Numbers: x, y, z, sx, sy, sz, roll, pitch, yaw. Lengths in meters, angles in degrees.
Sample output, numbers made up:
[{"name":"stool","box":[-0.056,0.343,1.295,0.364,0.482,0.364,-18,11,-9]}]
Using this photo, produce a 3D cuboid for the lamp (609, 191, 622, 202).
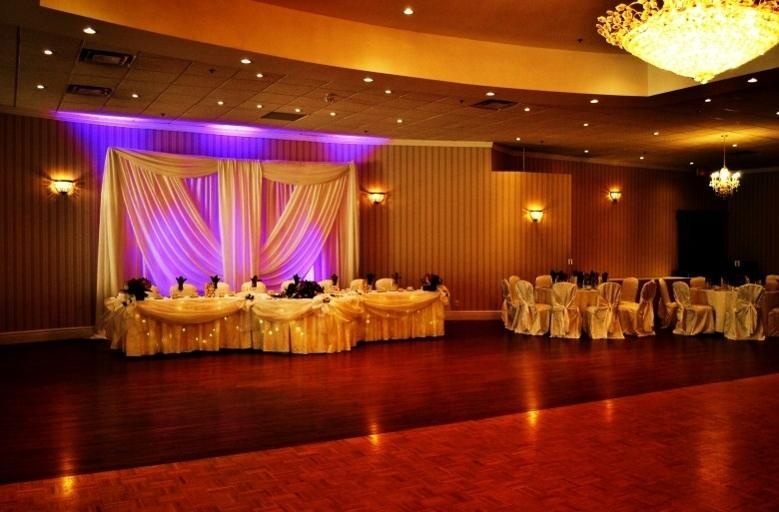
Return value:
[{"name":"lamp","box":[6.977,-1.809,16.215,0.352,0.247,0.336,1,-1,-25]}]

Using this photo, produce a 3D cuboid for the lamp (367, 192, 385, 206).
[{"name":"lamp","box":[-0.313,-1.454,13.148,0.342,0.207,0.327,-1,-6,-1]}]

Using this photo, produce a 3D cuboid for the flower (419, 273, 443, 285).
[{"name":"flower","box":[0.852,0.488,11.110,0.383,0.129,0.334,-2,-2,23]}]

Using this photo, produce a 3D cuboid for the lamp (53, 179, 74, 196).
[{"name":"lamp","box":[-6.614,-1.377,10.655,0.335,0.260,0.321,0,2,-6]}]

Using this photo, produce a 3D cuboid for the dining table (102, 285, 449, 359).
[{"name":"dining table","box":[-1.957,1.228,9.718,5.897,1.126,1.242,-1,6,-17]}]
